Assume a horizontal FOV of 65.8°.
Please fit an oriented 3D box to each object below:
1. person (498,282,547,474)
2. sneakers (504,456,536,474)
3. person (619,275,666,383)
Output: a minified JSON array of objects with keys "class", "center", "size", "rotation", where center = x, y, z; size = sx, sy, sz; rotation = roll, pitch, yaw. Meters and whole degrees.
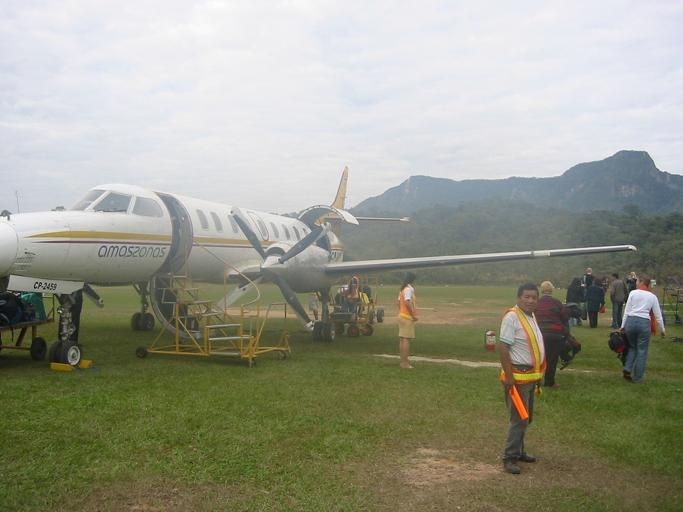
[{"class":"person","center":[2.249,1.537,6.729],"size":[0.506,2.286,0.702],"rotation":[6,9,29]},{"class":"sneakers","center":[2.213,2.636,6.652],"size":[0.228,0.090,0.349],"rotation":[-4,-4,40]},{"class":"person","center":[5.800,1.426,10.170],"size":[0.704,2.043,0.623],"rotation":[6,9,28]}]
